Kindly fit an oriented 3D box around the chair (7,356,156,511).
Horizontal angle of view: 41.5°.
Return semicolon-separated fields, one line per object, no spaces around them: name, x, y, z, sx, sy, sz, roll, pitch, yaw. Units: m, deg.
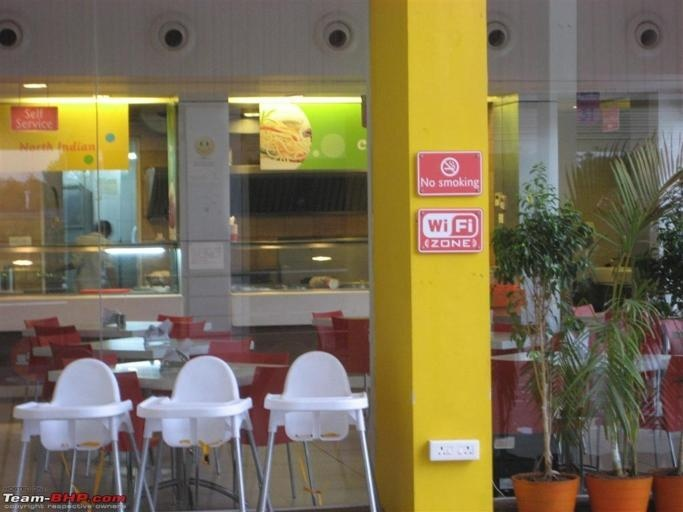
chair;-1.515;1.184;6.212;0.935;1.327;0.890;0;-6;3

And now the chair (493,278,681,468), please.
chair;1.849;1.166;6.908;1.446;1.566;1.150;1;-23;4

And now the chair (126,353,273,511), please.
chair;-0.918;1.093;6.186;0.977;1.356;0.886;0;-6;5
